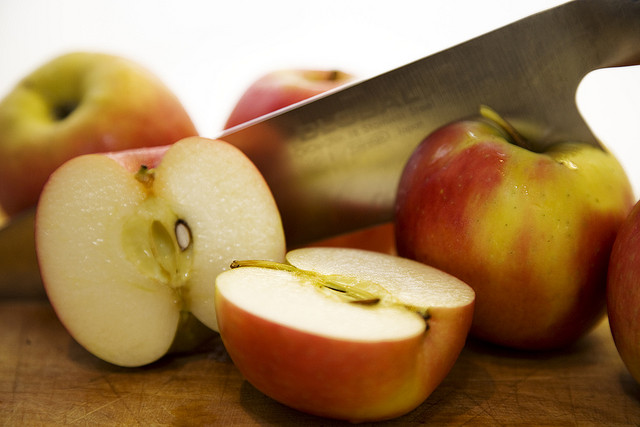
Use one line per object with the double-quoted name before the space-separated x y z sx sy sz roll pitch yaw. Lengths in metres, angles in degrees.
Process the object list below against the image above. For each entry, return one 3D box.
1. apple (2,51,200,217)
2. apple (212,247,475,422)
"apple" -0.453 -0.156 1.337 0.329 0.308 0.348 -31 50 24
"apple" 0.036 0.126 0.957 0.275 0.170 0.292 7 12 24
